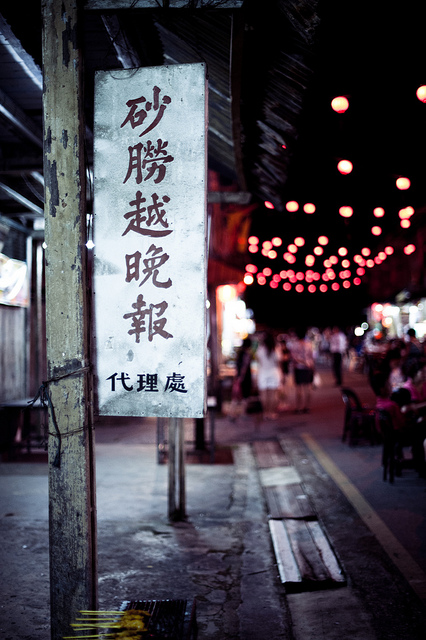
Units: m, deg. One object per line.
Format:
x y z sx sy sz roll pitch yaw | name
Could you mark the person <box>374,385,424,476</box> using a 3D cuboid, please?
2.628 1.606 8.374 0.603 1.228 0.990 -4 -4 17 | person
